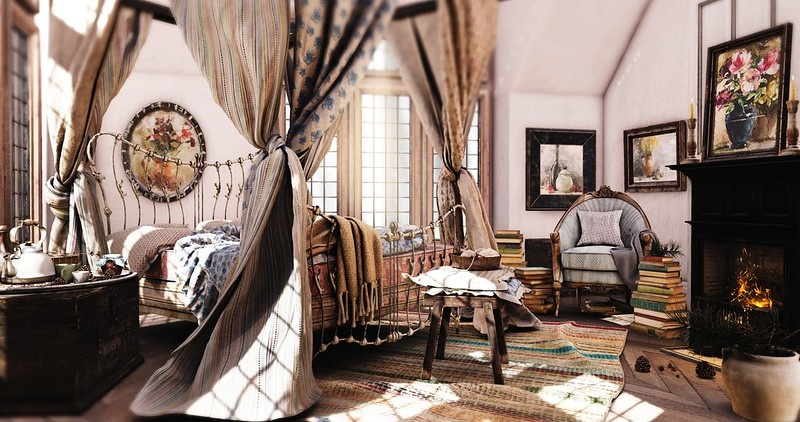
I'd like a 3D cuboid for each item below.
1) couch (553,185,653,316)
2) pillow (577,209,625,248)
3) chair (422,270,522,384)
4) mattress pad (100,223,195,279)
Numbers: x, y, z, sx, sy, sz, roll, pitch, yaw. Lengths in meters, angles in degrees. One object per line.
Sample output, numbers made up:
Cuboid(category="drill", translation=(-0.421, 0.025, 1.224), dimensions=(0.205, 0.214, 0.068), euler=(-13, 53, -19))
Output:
Cuboid(category="couch", translation=(2.951, 0.511, 6.847), dimensions=(1.302, 1.653, 1.334), euler=(-9, 7, -42))
Cuboid(category="pillow", translation=(2.900, 0.266, 6.958), dimensions=(0.554, 0.471, 0.188), euler=(0, -20, 16))
Cuboid(category="chair", translation=(0.704, 1.263, 5.166), dimensions=(0.911, 0.799, 0.910), euler=(-3, -6, 7))
Cuboid(category="mattress pad", translation=(-3.057, 0.413, 5.756), dimensions=(0.757, 0.357, 0.751), euler=(-5, 1, 28))
